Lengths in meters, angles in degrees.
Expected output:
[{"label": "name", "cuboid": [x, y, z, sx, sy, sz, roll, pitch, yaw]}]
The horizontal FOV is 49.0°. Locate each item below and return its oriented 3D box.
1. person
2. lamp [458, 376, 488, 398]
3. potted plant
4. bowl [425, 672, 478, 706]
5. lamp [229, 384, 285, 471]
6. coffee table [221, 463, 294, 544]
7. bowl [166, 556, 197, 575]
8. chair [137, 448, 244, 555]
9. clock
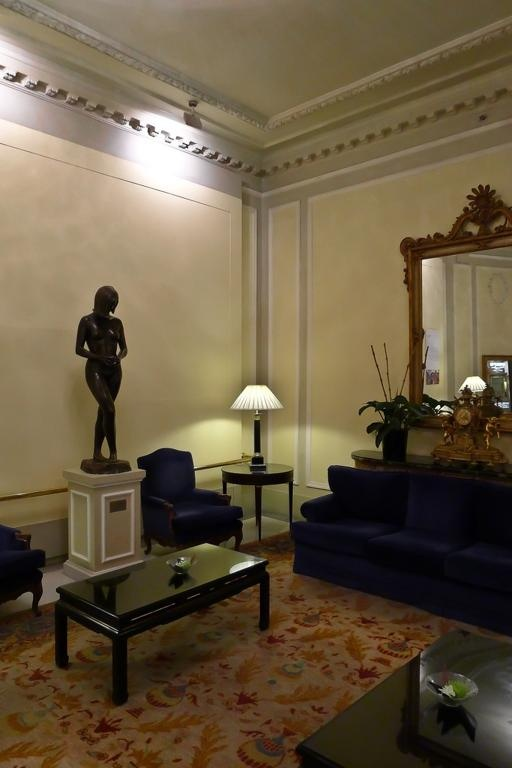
[{"label": "person", "cuboid": [-0.909, -0.057, 3.330, 0.259, 1.029, 0.262, 0, -1, -6]}, {"label": "lamp", "cuboid": [1.394, 0.024, 3.576, 0.126, 0.093, 0.128, -3, 1, 19]}, {"label": "potted plant", "cuboid": [0.921, 0.107, 3.801, 0.391, 0.762, 0.415, 0, -11, 10]}, {"label": "bowl", "cuboid": [0.545, 0.847, 1.563, 0.086, 0.029, 0.087, 2, -6, 0]}, {"label": "lamp", "cuboid": [0.017, 0.339, 4.299, 0.568, 0.627, 0.561, 0, -5, -24]}, {"label": "coffee table", "cuboid": [0.028, 0.803, 4.154, 0.542, 0.556, 0.534, -1, 0, -45]}, {"label": "bowl", "cuboid": [-0.314, 0.812, 2.498, 0.058, 0.042, 0.110, -5, -13, 25]}, {"label": "chair", "cuboid": [-0.471, 0.703, 3.761, 0.631, 0.877, 0.692, 3, -7, -45]}, {"label": "clock", "cuboid": [1.343, 0.263, 3.479, 0.257, 0.497, 0.438, 7, -6, -43]}]
